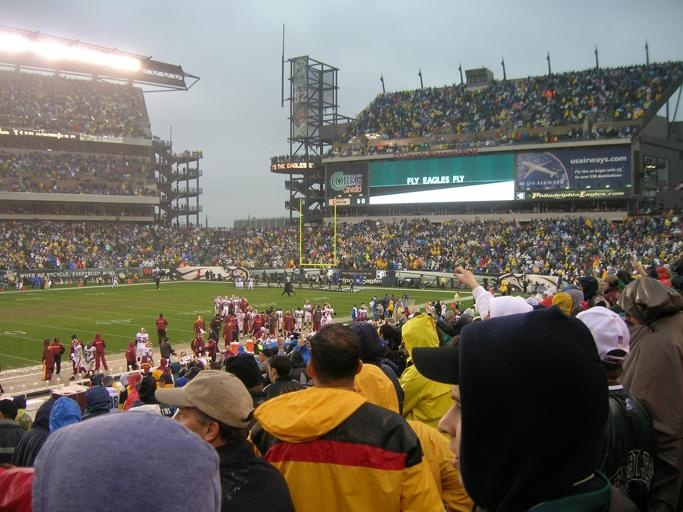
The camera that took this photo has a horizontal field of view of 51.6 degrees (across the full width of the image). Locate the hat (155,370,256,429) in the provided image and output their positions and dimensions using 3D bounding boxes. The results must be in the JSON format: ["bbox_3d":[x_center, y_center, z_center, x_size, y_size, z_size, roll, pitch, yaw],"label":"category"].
[{"bbox_3d":[-0.790,0.809,4.117,0.462,0.250,0.308,13,-6,-2],"label":"hat"}]

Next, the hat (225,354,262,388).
[{"bbox_3d":[-0.781,0.887,5.637,0.286,0.286,0.203,-13,10,-34],"label":"hat"}]

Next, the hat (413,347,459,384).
[{"bbox_3d":[0.454,0.522,3.479,0.208,0.179,0.164,-18,0,3],"label":"hat"}]

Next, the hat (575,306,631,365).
[{"bbox_3d":[1.732,0.514,4.653,0.331,0.354,0.209,-1,-1,-13],"label":"hat"}]
